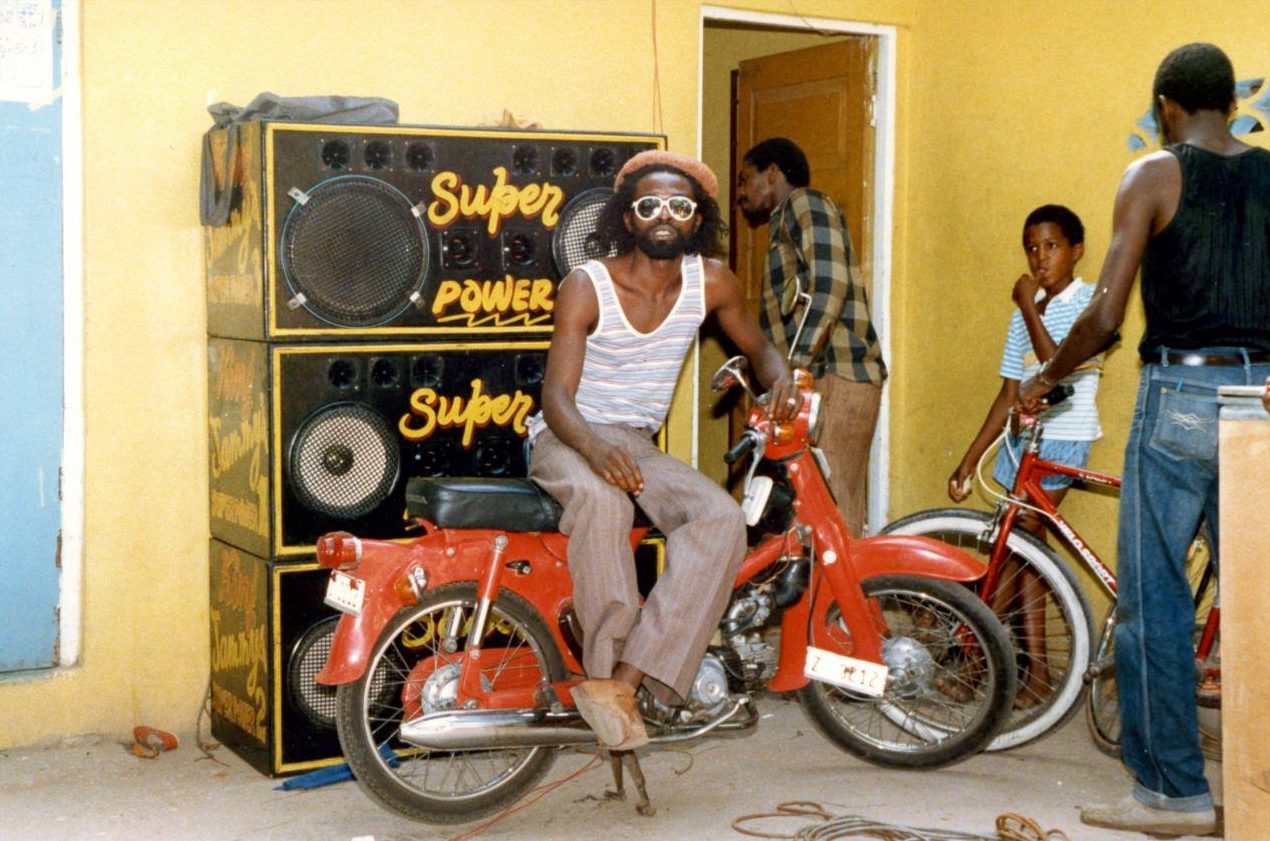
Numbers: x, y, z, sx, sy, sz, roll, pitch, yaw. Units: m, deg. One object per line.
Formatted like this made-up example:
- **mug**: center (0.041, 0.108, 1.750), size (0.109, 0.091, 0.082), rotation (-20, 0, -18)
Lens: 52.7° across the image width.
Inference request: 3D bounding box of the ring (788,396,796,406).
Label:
- **ring**: center (0.581, -0.077, 4.728), size (0.036, 0.035, 0.011), rotation (5, -12, -29)

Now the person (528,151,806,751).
- **person**: center (0.035, 0.089, 4.728), size (0.882, 2.085, 1.076), rotation (5, 14, 21)

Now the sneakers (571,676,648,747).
- **sneakers**: center (-0.083, 1.012, 4.493), size (0.165, 0.297, 0.122), rotation (-44, 3, -28)

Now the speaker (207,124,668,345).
- **speaker**: center (-0.847, -0.756, 4.979), size (1.674, 0.785, 0.833), rotation (4, -2, -30)
